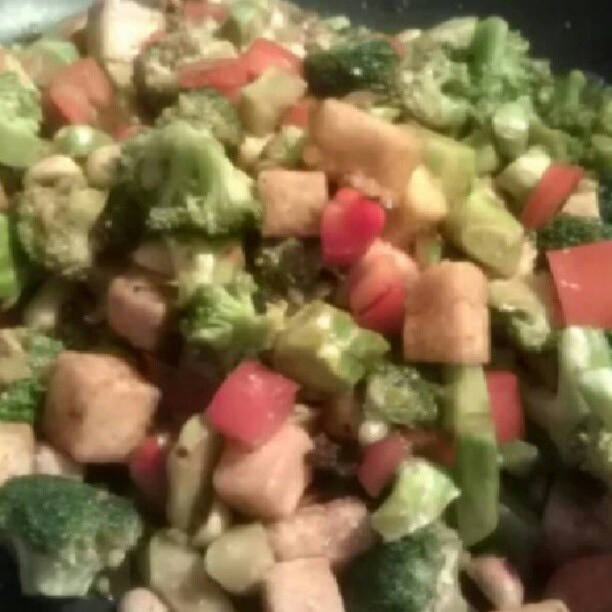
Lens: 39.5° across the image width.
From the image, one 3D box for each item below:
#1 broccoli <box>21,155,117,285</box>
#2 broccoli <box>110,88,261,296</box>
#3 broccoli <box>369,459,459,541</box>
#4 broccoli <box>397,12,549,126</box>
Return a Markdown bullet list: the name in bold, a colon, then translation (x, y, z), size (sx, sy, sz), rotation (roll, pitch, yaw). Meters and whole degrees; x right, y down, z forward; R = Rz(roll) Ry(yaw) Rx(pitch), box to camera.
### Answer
- **broccoli**: translation (-0.231, -0.085, 0.797), size (0.084, 0.049, 0.089), rotation (16, 57, 1)
- **broccoli**: translation (-0.116, -0.082, 0.773), size (0.127, 0.043, 0.176), rotation (10, 85, 11)
- **broccoli**: translation (0.093, 0.173, 0.763), size (0.078, 0.038, 0.053), rotation (-32, 67, -26)
- **broccoli**: translation (0.174, -0.239, 0.895), size (0.131, 0.040, 0.137), rotation (1, 69, -12)
